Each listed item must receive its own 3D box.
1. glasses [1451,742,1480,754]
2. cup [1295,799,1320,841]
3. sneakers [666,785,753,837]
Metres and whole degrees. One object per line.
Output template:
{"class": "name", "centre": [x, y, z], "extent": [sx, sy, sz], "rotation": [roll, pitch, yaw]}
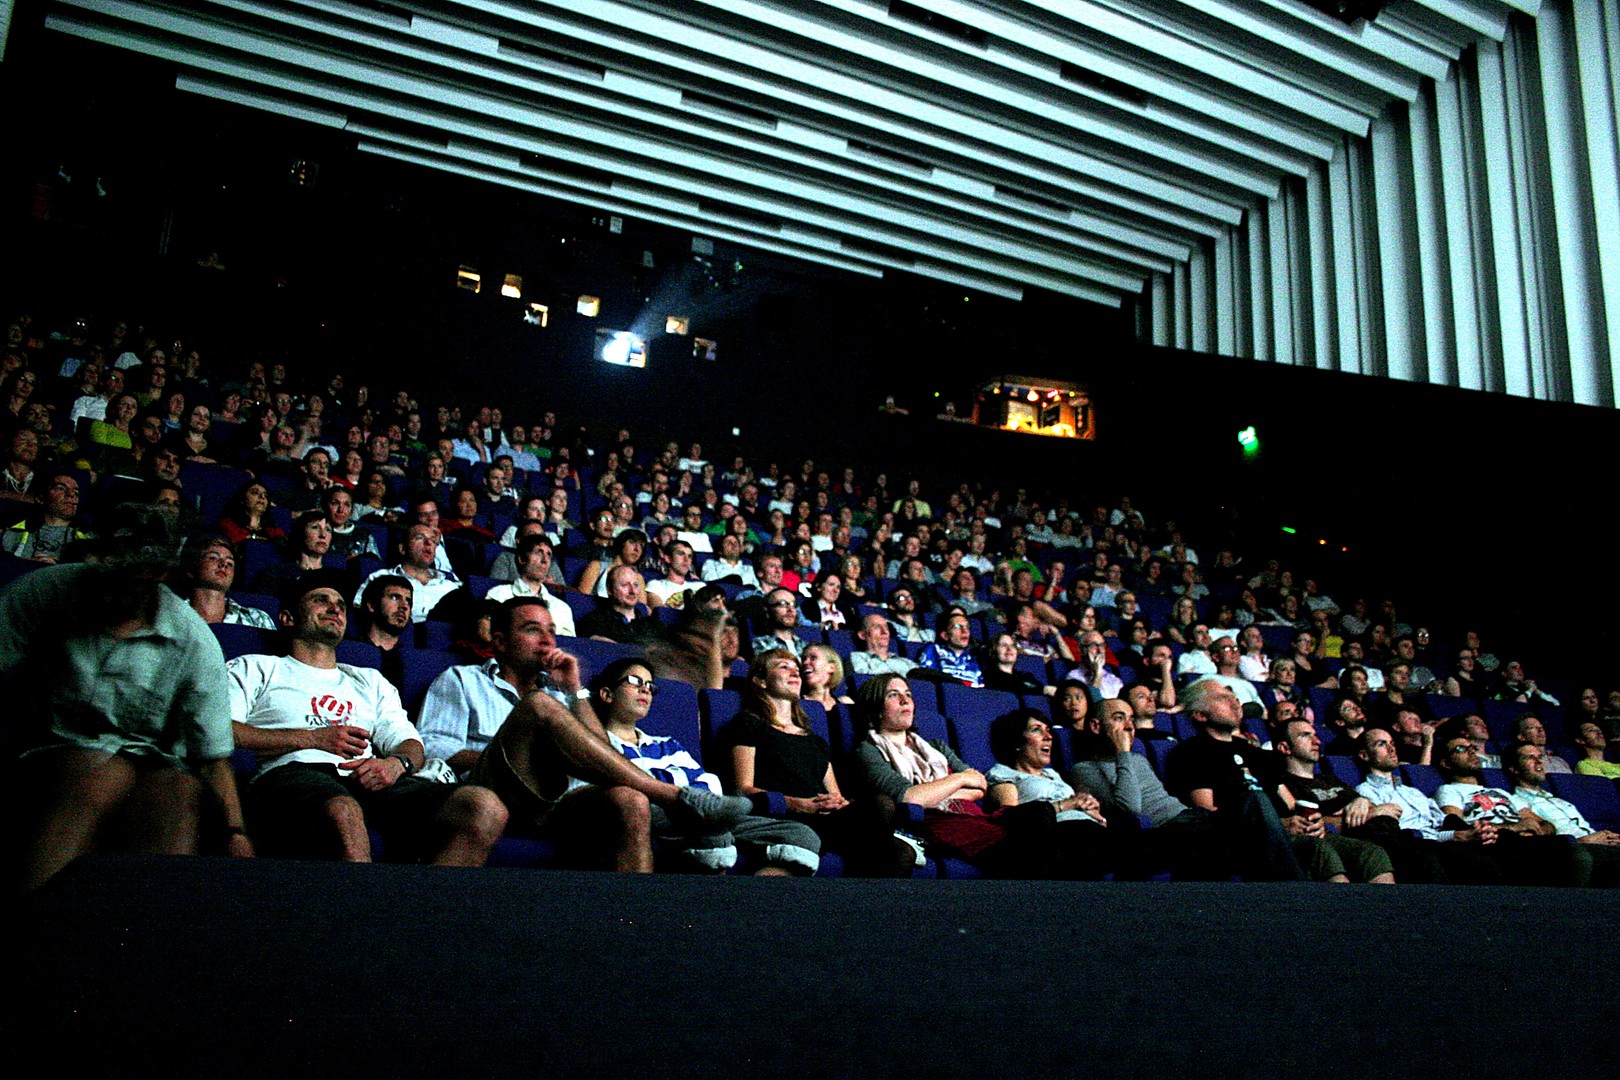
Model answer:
{"class": "glasses", "centre": [3.133, 0.987, 5.747], "extent": [0.112, 0.034, 0.110], "rotation": [3, -31, 12]}
{"class": "cup", "centre": [2.060, 1.146, 4.929], "extent": [0.097, 0.137, 0.150], "rotation": [-9, 9, 14]}
{"class": "sneakers", "centre": [-0.360, 0.929, 4.141], "extent": [0.261, 0.107, 0.140], "rotation": [4, -45, -3]}
